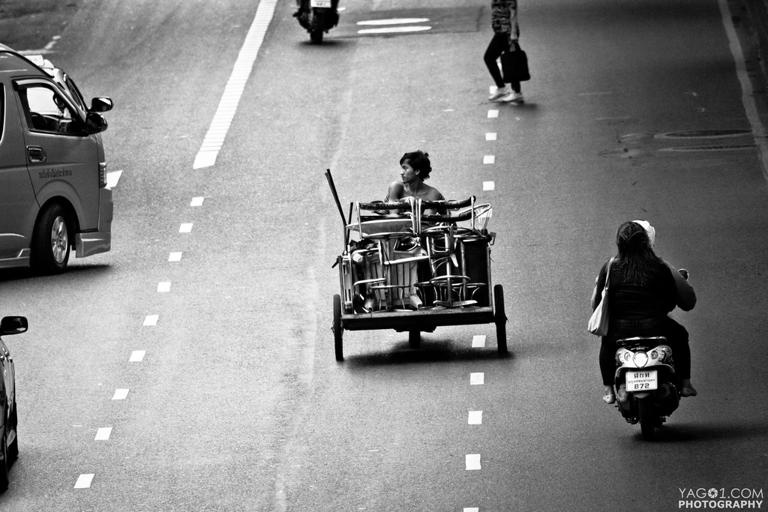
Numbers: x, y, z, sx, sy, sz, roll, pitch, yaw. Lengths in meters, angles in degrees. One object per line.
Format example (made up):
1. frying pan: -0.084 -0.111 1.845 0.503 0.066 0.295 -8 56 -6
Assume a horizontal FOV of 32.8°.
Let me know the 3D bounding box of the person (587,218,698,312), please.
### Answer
1. person: 2.674 0.390 13.511 1.060 1.456 0.761 -2 13 16

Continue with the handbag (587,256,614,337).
1. handbag: 2.218 0.409 13.262 0.171 0.734 0.337 9 9 21
